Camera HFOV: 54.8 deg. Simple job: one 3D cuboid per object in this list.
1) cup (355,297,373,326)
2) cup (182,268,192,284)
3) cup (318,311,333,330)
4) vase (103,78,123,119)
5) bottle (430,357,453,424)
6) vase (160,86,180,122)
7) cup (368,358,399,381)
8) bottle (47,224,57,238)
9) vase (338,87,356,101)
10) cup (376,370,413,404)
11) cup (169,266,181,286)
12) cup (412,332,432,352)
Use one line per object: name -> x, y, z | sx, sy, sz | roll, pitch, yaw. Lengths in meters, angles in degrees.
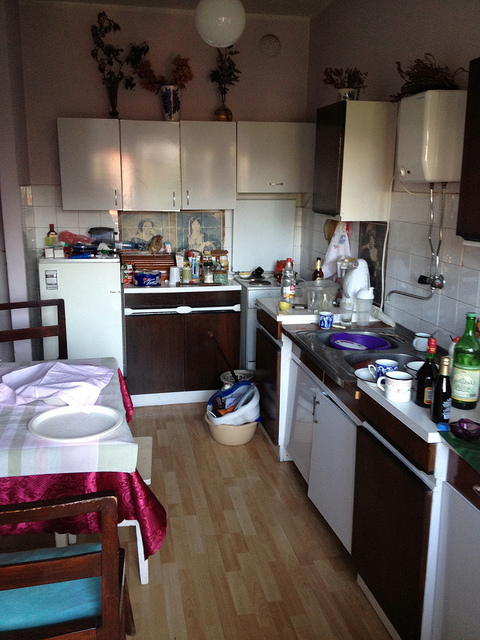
cup -> 0.713, -0.054, 2.687 | 0.080, 0.163, 0.104 | 2, 10, 12
cup -> -0.430, -0.364, 3.783 | 0.079, 0.124, 0.067 | -1, 10, -9
cup -> 0.488, 0.006, 2.670 | 0.088, 0.099, 0.075 | 3, 4, 8
vase -> -0.995, -1.771, 3.669 | 0.138, 0.311, 0.218 | -2, 10, -12
bottle -> 0.580, 0.205, 1.342 | 0.068, 0.184, 0.071 | 5, 5, 0
vase -> -0.545, -1.697, 3.650 | 0.143, 0.287, 0.228 | -1, 10, -9
cup -> 0.555, 0.189, 1.771 | 0.101, 0.084, 0.070 | -6, 25, -6
bottle -> -1.549, -0.742, 3.825 | 0.068, 0.108, 0.107 | -4, 11, -21
vase -> 0.631, -1.343, 2.740 | 0.098, 0.075, 0.069 | 4, 11, 17
cup -> 0.517, 0.223, 1.556 | 0.100, 0.085, 0.085 | 0, 20, 10
cup -> -0.519, -0.364, 3.788 | 0.131, 0.197, 0.129 | 1, 14, 0
cup -> 0.806, 0.098, 2.051 | 0.087, 0.066, 0.056 | -20, 25, -41
